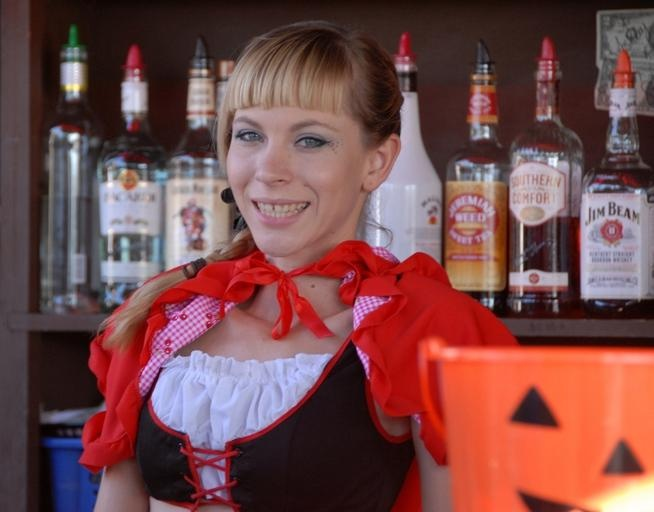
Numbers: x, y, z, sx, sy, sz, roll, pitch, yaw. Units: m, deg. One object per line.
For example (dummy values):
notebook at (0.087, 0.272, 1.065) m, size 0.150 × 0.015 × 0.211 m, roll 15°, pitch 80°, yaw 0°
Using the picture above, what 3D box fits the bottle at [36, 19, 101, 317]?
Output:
bottle at (-0.439, -0.147, 1.484) m, size 0.108 × 0.375 × 0.042 m, roll -2°, pitch -1°, yaw -15°
